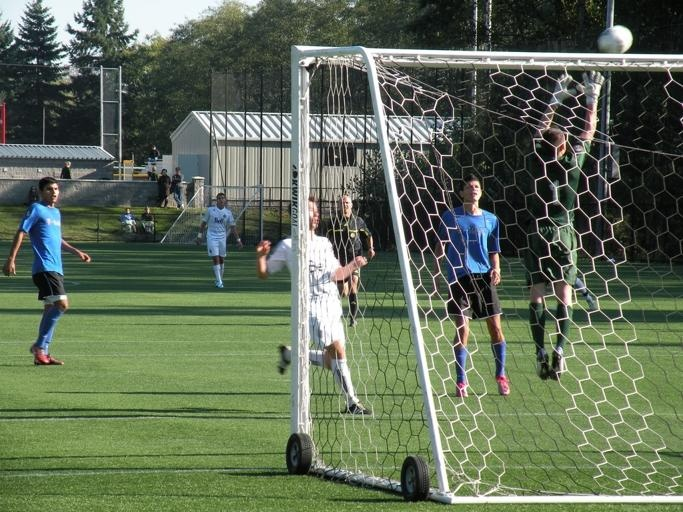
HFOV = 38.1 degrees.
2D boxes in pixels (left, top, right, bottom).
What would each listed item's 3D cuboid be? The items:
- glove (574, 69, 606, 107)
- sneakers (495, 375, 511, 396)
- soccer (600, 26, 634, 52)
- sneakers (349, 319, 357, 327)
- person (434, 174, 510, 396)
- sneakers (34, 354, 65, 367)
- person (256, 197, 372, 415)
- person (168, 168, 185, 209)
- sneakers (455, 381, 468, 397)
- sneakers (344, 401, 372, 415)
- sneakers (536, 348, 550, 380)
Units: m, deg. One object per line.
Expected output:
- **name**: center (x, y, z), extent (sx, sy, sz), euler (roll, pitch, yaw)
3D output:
- **glove**: center (2.529, -1.725, 10.068), extent (0.239, 0.322, 0.794), euler (1, 0, 13)
- **sneakers**: center (1.703, 1.366, 10.460), extent (0.097, 0.157, 0.218), euler (1, 9, 8)
- **soccer**: center (2.779, -2.191, 10.113), extent (0.321, 0.282, 0.511), euler (1, 0, 17)
- **sneakers**: center (0.165, 0.923, 13.886), extent (0.102, 0.145, 0.322), euler (2, 3, 1)
- **person**: center (1.413, 0.282, 10.652), extent (0.899, 1.994, 0.804), euler (0, 0, -45)
- **sneakers**: center (-3.495, 1.243, 11.852), extent (0.390, 0.187, 0.138), euler (1, 4, -11)
- **person**: center (-0.257, 0.515, 9.870), extent (1.098, 2.203, 1.020), euler (-8, -5, 14)
- **person**: center (-7.515, -3.106, 45.339), extent (0.551, 1.284, 1.550), euler (1, 0, -10)
- **sneakers**: center (1.249, 1.370, 10.318), extent (0.133, 0.167, 0.139), euler (-2, 4, -21)
- **sneakers**: center (0.162, 1.476, 9.637), extent (0.275, 0.131, 0.109), euler (0, 0, 2)
- **sneakers**: center (2.154, 1.203, 10.770), extent (0.117, 0.389, 0.248), euler (-1, 13, -3)
